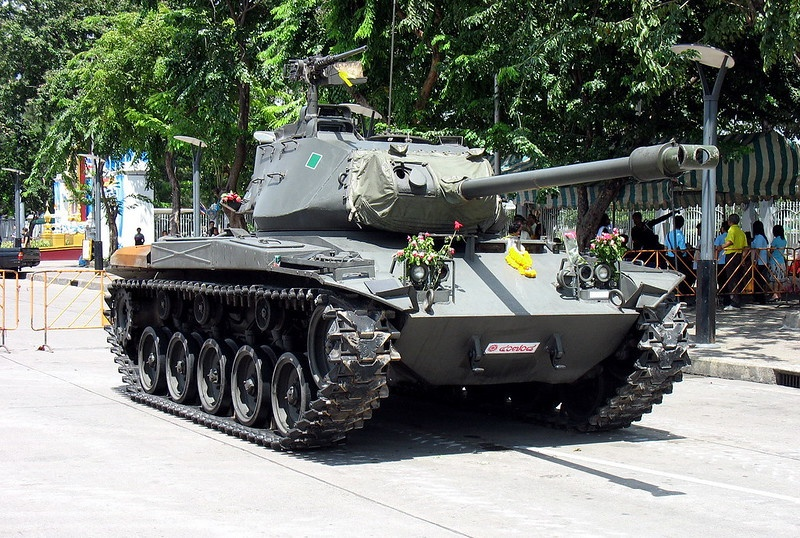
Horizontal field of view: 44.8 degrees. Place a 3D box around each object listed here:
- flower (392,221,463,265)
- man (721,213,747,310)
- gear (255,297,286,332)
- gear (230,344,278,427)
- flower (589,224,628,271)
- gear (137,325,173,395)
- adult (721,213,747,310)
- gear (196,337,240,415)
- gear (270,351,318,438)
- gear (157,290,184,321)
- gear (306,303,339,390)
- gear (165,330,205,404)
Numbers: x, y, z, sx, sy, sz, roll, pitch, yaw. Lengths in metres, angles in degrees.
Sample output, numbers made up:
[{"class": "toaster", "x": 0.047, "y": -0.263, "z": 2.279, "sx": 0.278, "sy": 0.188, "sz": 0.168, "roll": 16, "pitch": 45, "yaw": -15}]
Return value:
[{"class": "flower", "x": 0.420, "y": -0.168, "z": 12.737, "sx": 0.520, "sy": 0.429, "sz": 0.802, "roll": 24, "pitch": 44, "yaw": 35}, {"class": "man", "x": 8.404, "y": -0.180, "z": 24.312, "sx": 0.568, "sy": 2.328, "sz": 0.975, "roll": 3, "pitch": 8, "yaw": 20}, {"class": "gear", "x": -1.828, "y": 0.626, "z": 13.456, "sx": 0.151, "sy": 0.487, "sz": 0.639, "roll": -6, "pitch": 10, "yaw": -38}, {"class": "gear", "x": -2.037, "y": 1.655, "z": 13.650, "sx": 0.384, "sy": 1.222, "sz": 0.994, "roll": -2, "pitch": 3, "yaw": -27}, {"class": "flower", "x": 2.924, "y": -0.256, "z": 13.603, "sx": 0.475, "sy": 0.527, "sz": 0.446, "roll": 1, "pitch": 8, "yaw": 5}, {"class": "gear", "x": -3.953, "y": 1.505, "z": 15.696, "sx": 0.353, "sy": 1.152, "sz": 0.936, "roll": 2, "pitch": 2, "yaw": -22}, {"class": "adult", "x": 8.407, "y": -0.181, "z": 24.319, "sx": 0.568, "sy": 2.328, "sz": 0.990, "roll": 3, "pitch": 8, "yaw": 20}, {"class": "gear", "x": -2.737, "y": 1.593, "z": 14.556, "sx": 0.292, "sy": 1.133, "sz": 0.917, "roll": 0, "pitch": 11, "yaw": -37}, {"class": "gear", "x": -1.460, "y": 1.679, "z": 13.002, "sx": 0.440, "sy": 1.089, "sz": 0.994, "roll": -2, "pitch": 8, "yaw": -17}, {"class": "gear", "x": -3.740, "y": 0.592, "z": 15.612, "sx": 0.167, "sy": 0.517, "sz": 0.458, "roll": -2, "pitch": 13, "yaw": -39}, {"class": "gear", "x": -0.977, "y": 0.984, "z": 12.365, "sx": 0.169, "sy": 1.119, "sz": 0.932, "roll": 0, "pitch": -7, "yaw": -21}, {"class": "gear", "x": -3.323, "y": 1.544, "z": 15.042, "sx": 0.411, "sy": 1.215, "sz": 0.994, "roll": 1, "pitch": 0, "yaw": -23}]
